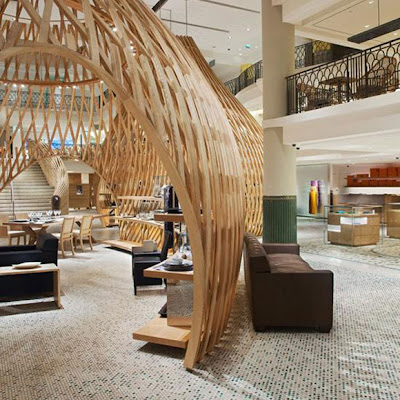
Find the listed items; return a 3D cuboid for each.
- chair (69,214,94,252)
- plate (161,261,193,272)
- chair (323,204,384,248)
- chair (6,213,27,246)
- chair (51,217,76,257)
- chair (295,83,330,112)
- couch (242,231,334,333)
[{"bbox_3d":[-2.589,0.702,7.113,0.346,0.692,0.377,6,-2,14],"label":"chair"},{"bbox_3d":[-0.186,0.541,2.632,0.270,0.040,0.220,0,0,5],"label":"plate"},{"bbox_3d":[3.755,0.607,8.045,0.672,1.065,1.022,-1,1,-8],"label":"chair"},{"bbox_3d":[-4.011,0.705,7.102,0.432,0.825,0.467,-1,-2,20],"label":"chair"},{"bbox_3d":[-2.693,0.690,6.410,0.350,0.731,0.370,6,5,10],"label":"chair"},{"bbox_3d":[2.563,-2.382,7.165,0.488,0.722,1.022,-9,15,-5],"label":"chair"},{"bbox_3d":[0.845,0.826,3.391,0.736,0.782,1.080,0,0,4],"label":"couch"}]
